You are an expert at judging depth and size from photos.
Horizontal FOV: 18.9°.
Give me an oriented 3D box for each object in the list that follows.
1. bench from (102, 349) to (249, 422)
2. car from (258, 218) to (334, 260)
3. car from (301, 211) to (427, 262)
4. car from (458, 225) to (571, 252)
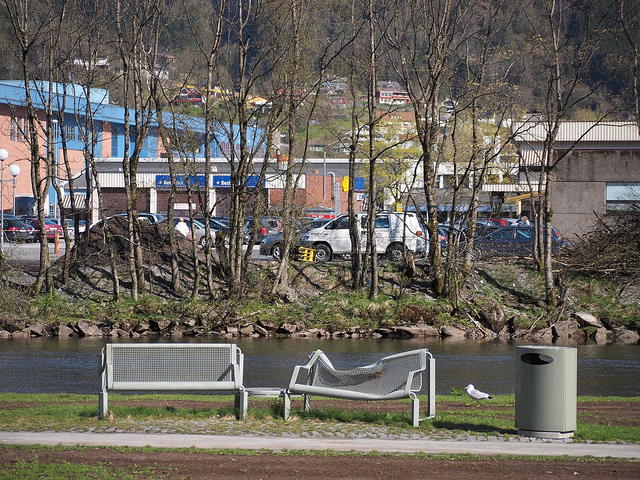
[{"bbox_3d":[-5.548,5.382,71.915,5.157,2.694,0.505,-1,-1,2],"label":"bench"},{"bbox_3d":[-1.266,-0.022,91.947,3.380,1.654,1.733,1,1,-4],"label":"car"},{"bbox_3d":[2.002,0.132,90.436,5.081,2.240,2.619,1,1,1],"label":"car"},{"bbox_3d":[9.776,0.532,94.384,4.484,1.702,2.139,2,2,4],"label":"car"}]
